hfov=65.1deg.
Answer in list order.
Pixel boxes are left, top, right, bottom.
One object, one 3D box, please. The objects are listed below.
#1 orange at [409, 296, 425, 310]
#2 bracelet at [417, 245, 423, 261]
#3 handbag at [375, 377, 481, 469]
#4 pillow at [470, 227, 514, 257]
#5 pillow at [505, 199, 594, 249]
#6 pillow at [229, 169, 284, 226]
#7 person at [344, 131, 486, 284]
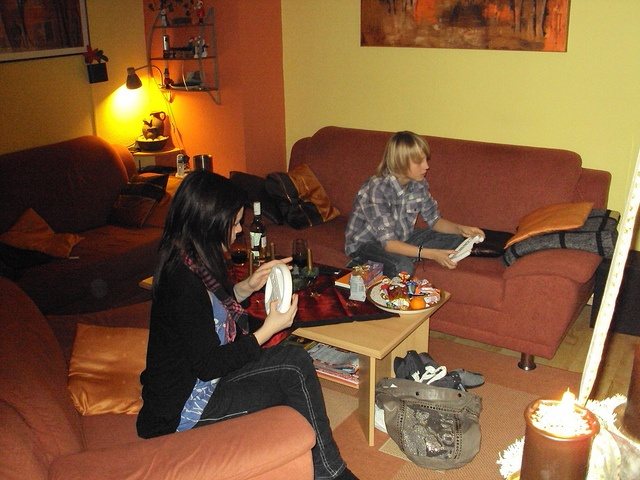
[{"bbox_3d":[0.482,0.313,2.505,0.060,0.058,0.059,-20,21,-34],"label":"orange"},{"bbox_3d":[0.621,0.079,3.133,0.019,0.068,0.064,9,23,-3],"label":"bracelet"},{"bbox_3d":[0.501,0.841,2.270,0.392,0.160,0.397,10,35,17],"label":"handbag"},{"bbox_3d":[1.114,0.033,3.240,0.205,0.123,0.284,11,25,26],"label":"pillow"},{"bbox_3d":[1.396,-0.094,3.066,0.418,0.279,0.435,12,26,27],"label":"pillow"},{"bbox_3d":[-0.482,-0.357,3.859,0.422,0.110,0.450,-18,44,-41],"label":"pillow"},{"bbox_3d":[0.657,-0.198,3.336,0.793,0.975,0.912,-11,27,-24],"label":"person"}]
